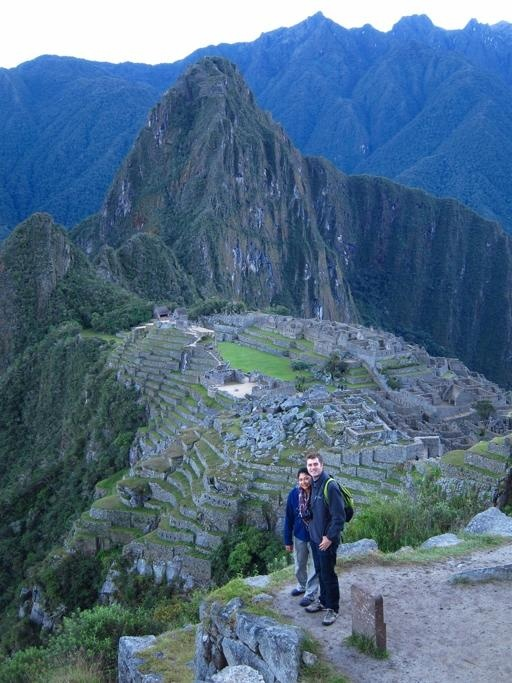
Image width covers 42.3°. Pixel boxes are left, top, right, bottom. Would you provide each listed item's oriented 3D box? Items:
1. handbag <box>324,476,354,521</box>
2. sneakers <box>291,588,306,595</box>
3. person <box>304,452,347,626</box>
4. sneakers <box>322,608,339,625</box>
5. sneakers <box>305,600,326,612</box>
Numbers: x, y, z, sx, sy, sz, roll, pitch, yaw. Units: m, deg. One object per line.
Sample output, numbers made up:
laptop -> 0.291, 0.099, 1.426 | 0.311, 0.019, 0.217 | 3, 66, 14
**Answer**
handbag -> 1.109, 2.147, 8.871 | 0.429, 0.553, 0.413 | -3, 7, 42
sneakers -> 0.602, 3.508, 9.297 | 0.219, 0.105, 0.078 | 9, -8, -42
person -> 0.940, 2.583, 8.844 | 0.477, 2.149, 0.639 | 1, -5, -12
sneakers -> 0.957, 3.540, 8.508 | 0.099, 0.131, 0.280 | -1, 3, 12
sneakers -> 0.790, 3.531, 8.822 | 0.318, 0.147, 0.121 | 3, -3, -19
